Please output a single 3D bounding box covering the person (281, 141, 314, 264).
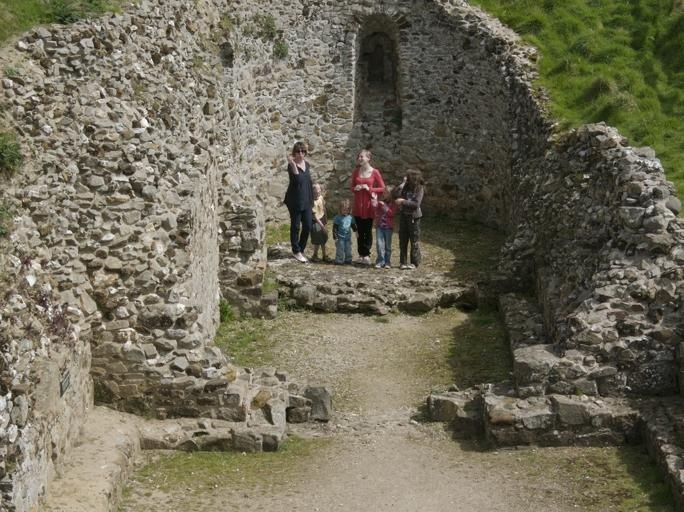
[{"bbox_3d":[-0.679,-0.883,15.657,0.441,2.099,0.355,-18,33,-30],"label":"person"}]
